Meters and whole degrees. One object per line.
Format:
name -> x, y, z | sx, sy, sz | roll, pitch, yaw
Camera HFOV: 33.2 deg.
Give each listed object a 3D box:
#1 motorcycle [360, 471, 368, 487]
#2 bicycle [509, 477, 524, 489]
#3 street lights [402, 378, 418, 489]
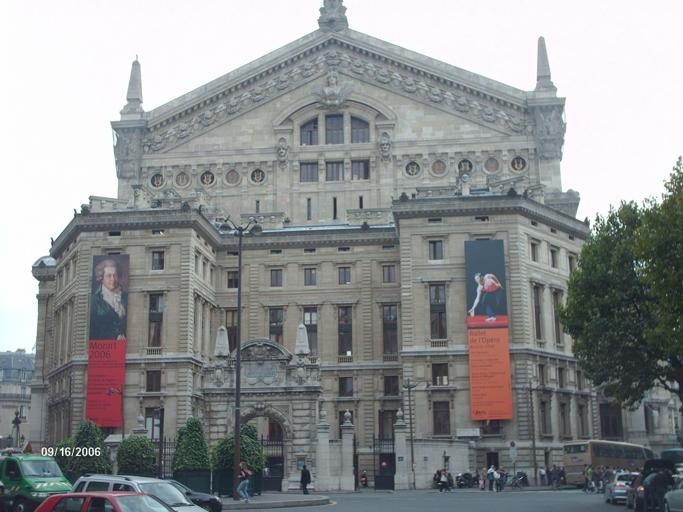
motorcycle -> 1.995, 19.532, 100.509 | 0.645, 1.649, 2.675 | 0, -16, 1
bicycle -> 14.844, 19.129, 96.429 | 0.981, 1.187, 2.990 | -2, -17, 7
street lights -> 5.892, 14.938, 97.912 | 0.883, 8.996, 0.879 | -9, -13, 16
